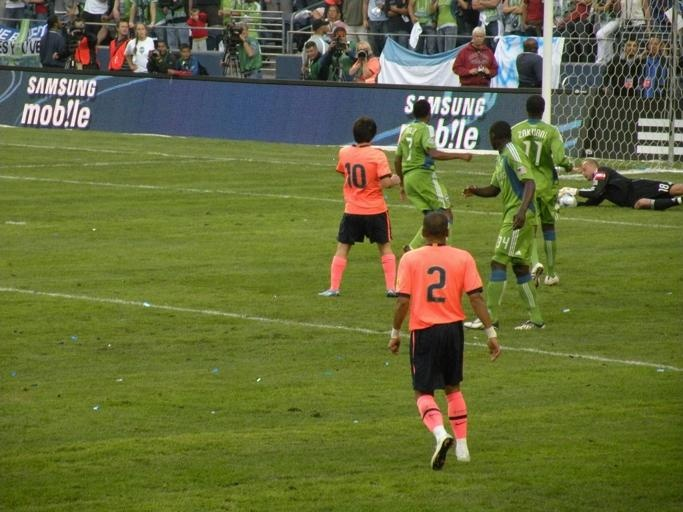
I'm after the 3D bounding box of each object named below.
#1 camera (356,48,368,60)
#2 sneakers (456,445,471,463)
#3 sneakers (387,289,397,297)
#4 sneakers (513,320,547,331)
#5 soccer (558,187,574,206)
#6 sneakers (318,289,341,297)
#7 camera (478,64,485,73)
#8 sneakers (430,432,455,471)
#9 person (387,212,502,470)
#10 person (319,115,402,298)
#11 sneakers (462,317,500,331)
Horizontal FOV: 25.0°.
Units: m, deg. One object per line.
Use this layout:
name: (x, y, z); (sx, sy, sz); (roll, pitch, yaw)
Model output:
camera: (0.432, -4.710, 36.016); (0.294, 0.133, 0.345); (-1, 6, 1)
sneakers: (1.269, 2.101, 16.219); (0.121, 0.112, 0.196); (2, 1, 1)
sneakers: (0.638, 0.506, 20.615); (0.111, 0.064, 0.188); (2, 2, -2)
sneakers: (2.369, 0.886, 19.504); (0.446, 0.157, 0.139); (0, 1, 3)
soccer: (3.903, -1.013, 26.709); (0.326, 0.282, 0.319); (-5, -5, 31)
sneakers: (-0.196, 0.509, 20.679); (0.308, 0.110, 0.098); (1, 1, 8)
camera: (3.039, -4.107, 33.865); (0.198, 0.161, 0.067); (-1, -8, 7)
sneakers: (1.000, 2.010, 16.009); (0.179, 0.432, 0.212); (18, 14, -18)
person: (0.984, 0.871, 16.311); (1.070, 2.641, 1.038); (4, 8, 18)
person: (0.253, -0.666, 20.809); (0.977, 2.389, 1.077); (2, 8, 1)
sneakers: (1.786, 0.872, 19.555); (0.542, 0.197, 0.181); (3, 4, 12)
